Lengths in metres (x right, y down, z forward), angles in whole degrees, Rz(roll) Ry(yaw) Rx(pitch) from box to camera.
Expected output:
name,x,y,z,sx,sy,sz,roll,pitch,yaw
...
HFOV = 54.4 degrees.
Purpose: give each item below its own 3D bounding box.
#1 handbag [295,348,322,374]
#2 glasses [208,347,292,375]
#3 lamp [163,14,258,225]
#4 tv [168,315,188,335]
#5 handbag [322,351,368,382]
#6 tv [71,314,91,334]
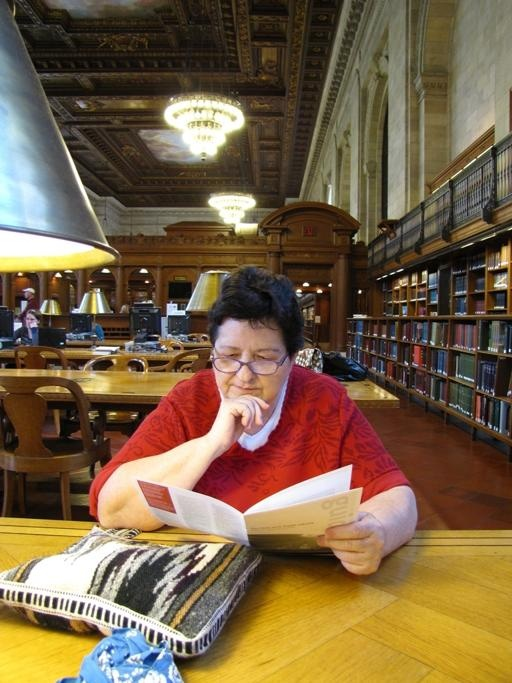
name,x,y,z,sx,sy,sz,roll,pitch,yaw
handbag,0.312,0.097,2.875,0.155,0.167,0.183,1,7,-1
glasses,-0.020,0.049,1.212,0.190,0.058,0.087,6,7,4
lamp,-0.964,-4.784,12.591,1.779,0.923,4.089,-2,-19,6
tv,-1.431,-0.302,9.137,0.395,0.343,0.207,-1,-4,7
handbag,0.621,0.177,3.512,0.304,0.117,0.231,7,7,-2
tv,-3.341,-0.347,9.499,0.407,0.354,0.199,2,0,2
